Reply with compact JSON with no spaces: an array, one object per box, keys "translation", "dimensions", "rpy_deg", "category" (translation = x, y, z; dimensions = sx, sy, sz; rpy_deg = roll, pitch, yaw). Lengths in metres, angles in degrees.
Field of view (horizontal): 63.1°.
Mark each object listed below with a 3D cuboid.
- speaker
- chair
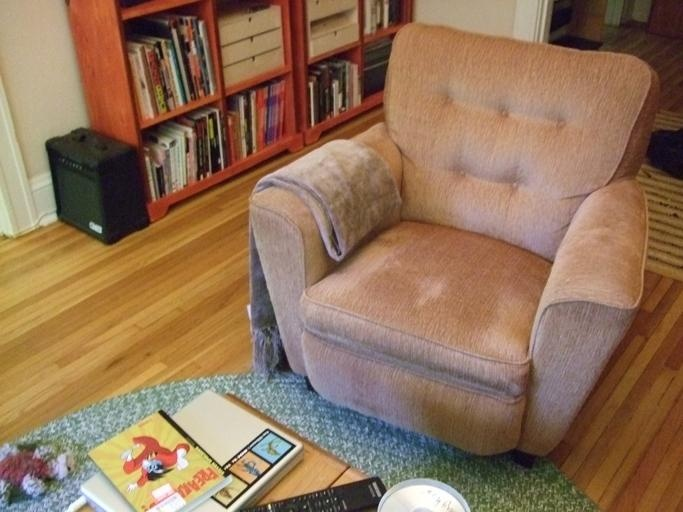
[{"translation":[-1.199,-0.357,2.726],"dimensions":[0.412,0.426,0.255],"rpy_deg":[21,33,27],"category":"speaker"},{"translation":[0.382,-0.084,1.801],"dimensions":[1.117,0.917,1.074],"rpy_deg":[25,45,29],"category":"chair"}]
